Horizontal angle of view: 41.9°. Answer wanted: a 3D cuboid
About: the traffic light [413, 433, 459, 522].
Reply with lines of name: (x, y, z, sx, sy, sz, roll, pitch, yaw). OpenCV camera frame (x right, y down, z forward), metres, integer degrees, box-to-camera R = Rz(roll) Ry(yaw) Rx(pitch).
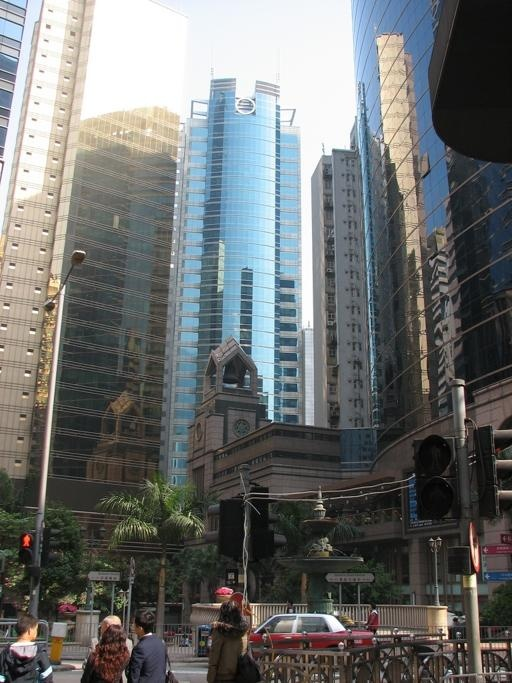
traffic light: (1.947, 1.469, 7.280, 0.458, 0.929, 0.515, -5, -23, 15)

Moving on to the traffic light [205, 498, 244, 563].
traffic light: (-0.347, 2.593, 9.321, 0.370, 0.820, 0.464, 2, -22, -1)

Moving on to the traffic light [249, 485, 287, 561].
traffic light: (0.144, 2.615, 9.672, 0.449, 1.079, 0.788, -1, -22, 5)

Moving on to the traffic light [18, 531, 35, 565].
traffic light: (-5.577, 5.024, 16.289, 0.313, 0.712, 0.620, 9, -23, -18)
